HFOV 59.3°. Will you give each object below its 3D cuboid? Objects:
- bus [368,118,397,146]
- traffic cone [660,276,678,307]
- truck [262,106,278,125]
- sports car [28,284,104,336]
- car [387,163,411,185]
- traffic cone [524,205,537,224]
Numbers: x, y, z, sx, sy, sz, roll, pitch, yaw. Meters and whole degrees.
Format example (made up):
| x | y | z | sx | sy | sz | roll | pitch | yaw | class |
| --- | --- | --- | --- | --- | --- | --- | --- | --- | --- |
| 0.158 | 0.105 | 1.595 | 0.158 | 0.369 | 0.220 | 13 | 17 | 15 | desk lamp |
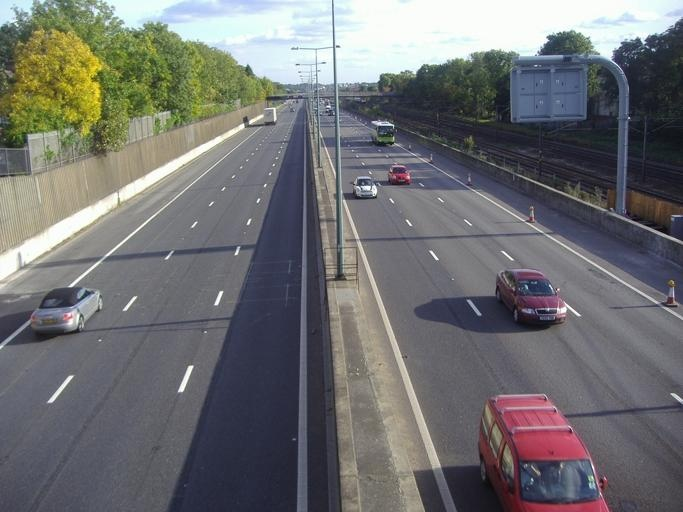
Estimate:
| x | y | z | sx | sy | sz | roll | pitch | yaw | class |
| --- | --- | --- | --- | --- | --- | --- | --- | --- | --- |
| 6.489 | -18.446 | 90.451 | 2.902 | 3.271 | 5.996 | -4 | 20 | -2 | bus |
| 15.102 | 1.688 | 27.536 | 0.681 | 1.196 | 0.778 | -7 | 9 | -11 | traffic cone |
| -16.611 | -32.293 | 139.350 | 1.656 | 4.007 | 4.841 | -12 | 21 | -27 | truck |
| -12.008 | 2.328 | 26.710 | 1.325 | 1.251 | 3.363 | 3 | 20 | -2 | sports car |
| 5.383 | -7.659 | 56.242 | 1.236 | 1.336 | 2.477 | -1 | 14 | -1 | car |
| 13.614 | -2.949 | 43.043 | 0.806 | 1.166 | 1.037 | -6 | 25 | -2 | traffic cone |
